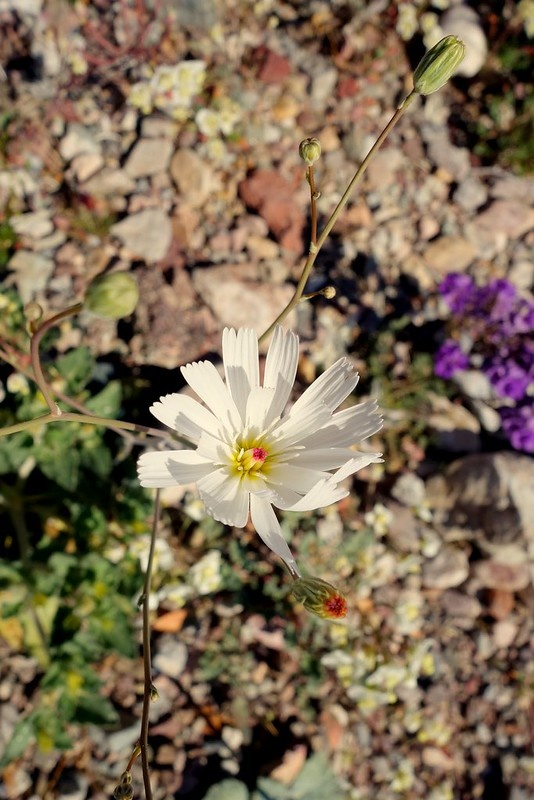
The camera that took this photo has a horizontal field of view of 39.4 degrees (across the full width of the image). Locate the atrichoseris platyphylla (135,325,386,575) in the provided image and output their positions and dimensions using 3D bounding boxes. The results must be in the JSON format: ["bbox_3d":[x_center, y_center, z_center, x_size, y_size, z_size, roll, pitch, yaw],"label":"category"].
[{"bbox_3d":[-0.030,0.097,1.831,0.494,0.531,0.154,19,105,26],"label":"atrichoseris platyphylla"}]
